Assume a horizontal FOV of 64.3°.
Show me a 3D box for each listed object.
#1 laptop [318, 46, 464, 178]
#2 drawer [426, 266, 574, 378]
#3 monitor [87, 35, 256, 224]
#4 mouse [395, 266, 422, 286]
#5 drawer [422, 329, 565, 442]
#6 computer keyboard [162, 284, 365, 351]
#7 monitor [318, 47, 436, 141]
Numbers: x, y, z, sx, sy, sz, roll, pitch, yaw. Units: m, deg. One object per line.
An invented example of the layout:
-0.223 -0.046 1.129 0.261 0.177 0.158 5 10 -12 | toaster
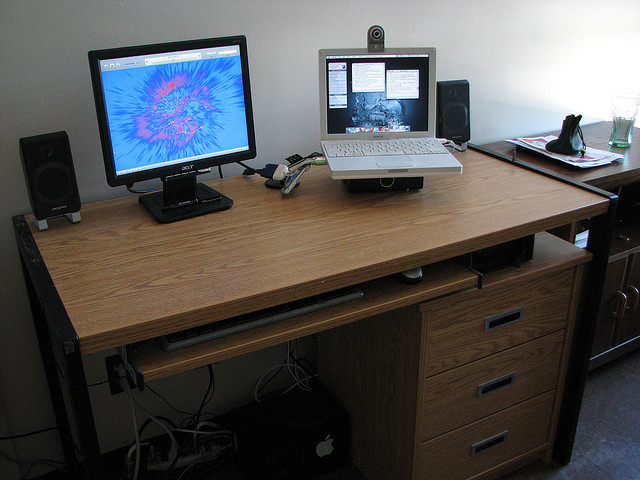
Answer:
0.225 -0.440 1.767 0.555 0.374 0.338 -7 40 -12 | laptop
0.500 0.189 1.789 0.622 0.245 0.406 -16 25 -21 | drawer
-0.457 -0.363 1.637 0.255 0.536 0.582 27 35 30 | monitor
0.259 0.105 1.467 0.076 0.048 0.043 -5 23 2 | mouse
0.549 0.462 1.722 0.553 0.196 0.361 -13 25 -24 | drawer
-0.130 0.201 1.352 0.557 0.038 0.057 -12 23 -20 | computer keyboard
0.201 -0.509 1.768 0.434 0.327 0.130 -2 30 -9 | monitor
